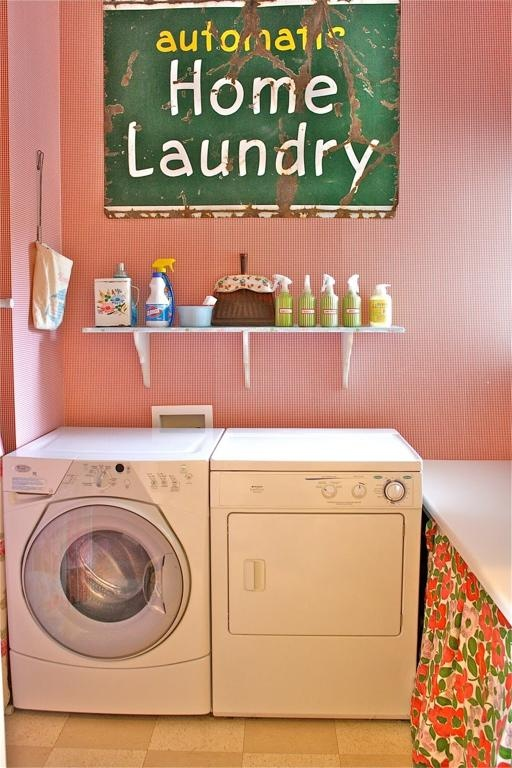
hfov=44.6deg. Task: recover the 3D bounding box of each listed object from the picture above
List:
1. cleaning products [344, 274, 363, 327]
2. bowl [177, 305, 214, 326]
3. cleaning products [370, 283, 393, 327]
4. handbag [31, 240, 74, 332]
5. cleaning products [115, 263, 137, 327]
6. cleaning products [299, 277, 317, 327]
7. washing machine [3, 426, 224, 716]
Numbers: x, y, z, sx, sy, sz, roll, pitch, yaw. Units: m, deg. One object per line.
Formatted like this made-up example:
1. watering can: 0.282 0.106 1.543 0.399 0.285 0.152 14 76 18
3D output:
1. cleaning products: 0.322 -0.282 2.106 0.059 0.172 0.125 0 8 3
2. bowl: -0.205 -0.238 2.080 0.082 0.045 0.079 -1 6 0
3. cleaning products: 0.423 -0.270 2.126 0.071 0.137 0.100 0 9 6
4. handbag: -0.696 -0.326 2.113 0.056 0.276 0.222 4 0 10
5. cleaning products: -0.454 -0.308 2.153 0.086 0.227 0.053 -3 -6 -2
6. cleaning products: 0.171 -0.283 2.115 0.053 0.168 0.174 0 9 4
7. washing machine: -0.425 0.549 2.167 0.700 0.778 0.784 1 7 -6
